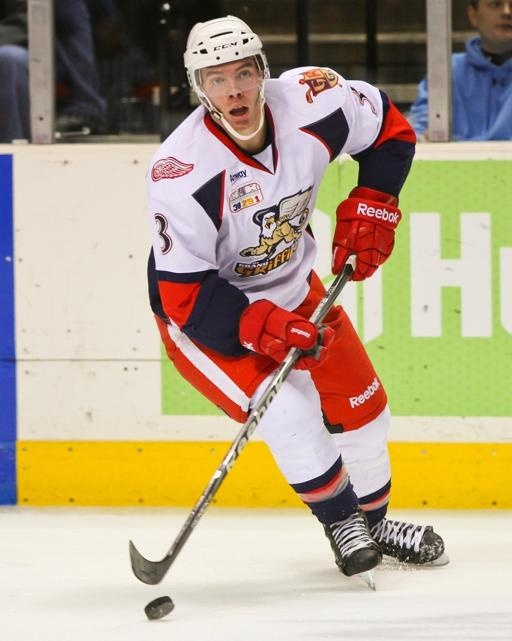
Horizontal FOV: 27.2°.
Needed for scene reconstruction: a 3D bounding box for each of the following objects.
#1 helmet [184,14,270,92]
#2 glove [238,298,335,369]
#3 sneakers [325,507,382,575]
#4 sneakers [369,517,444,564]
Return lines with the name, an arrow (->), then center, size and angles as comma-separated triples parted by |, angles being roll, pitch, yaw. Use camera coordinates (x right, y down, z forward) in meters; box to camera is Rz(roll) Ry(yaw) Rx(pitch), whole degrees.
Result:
helmet -> -0.090, -0.686, 2.723 | 0.197, 0.187, 0.209 | -18, 9, 1
glove -> 0.072, 0.038, 2.607 | 0.229, 0.182, 0.148 | -2, 10, 3
sneakers -> 0.237, 0.571, 2.709 | 0.082, 0.093, 0.218 | -30, 4, -3
sneakers -> 0.423, 0.618, 2.941 | 0.252, 0.082, 0.093 | 10, -28, 17
